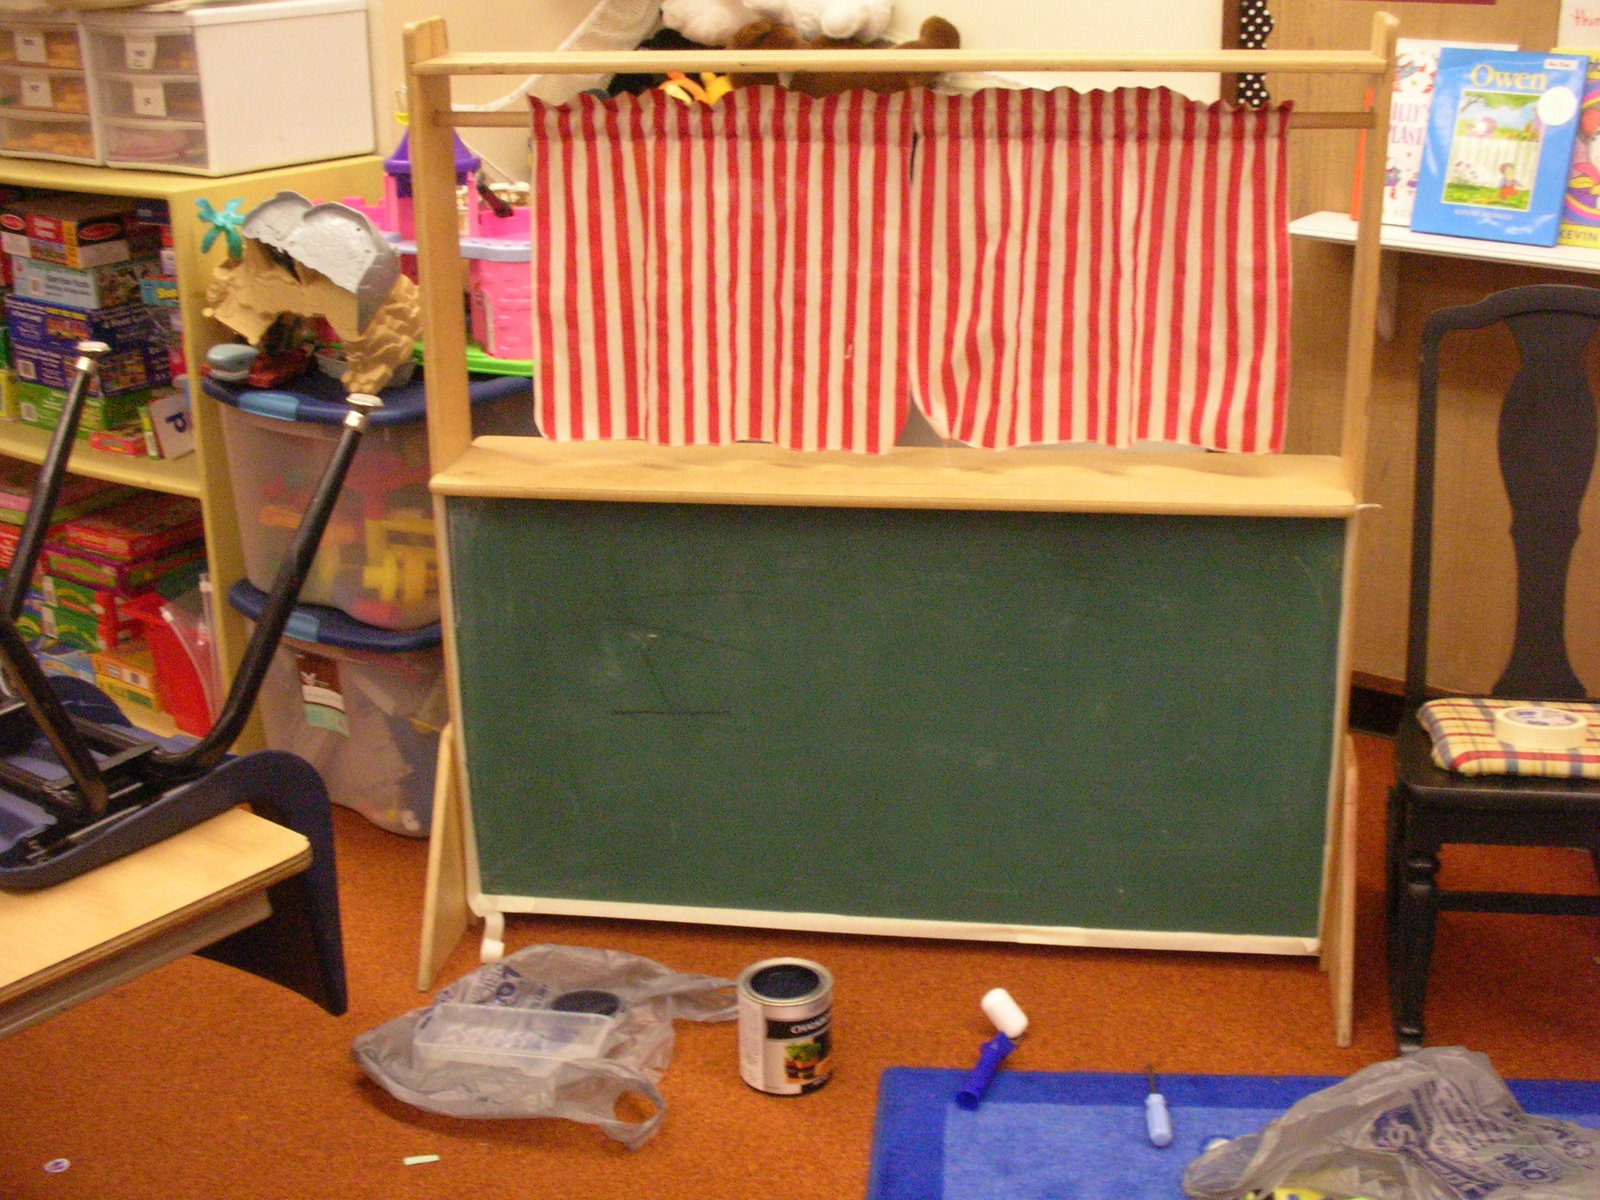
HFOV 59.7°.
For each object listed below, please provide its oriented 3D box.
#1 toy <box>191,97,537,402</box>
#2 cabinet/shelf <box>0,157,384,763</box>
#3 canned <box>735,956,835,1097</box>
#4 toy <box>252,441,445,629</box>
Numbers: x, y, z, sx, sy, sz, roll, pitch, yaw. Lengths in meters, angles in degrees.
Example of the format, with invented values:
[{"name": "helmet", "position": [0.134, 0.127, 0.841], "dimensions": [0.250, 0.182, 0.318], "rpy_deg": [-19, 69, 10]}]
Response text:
[{"name": "toy", "position": [-0.935, -0.647, 2.921], "dimensions": [0.772, 0.421, 0.373], "rpy_deg": [8, 16, 30]}, {"name": "cabinet/shelf", "position": [-1.277, -0.335, 2.977], "dimensions": [1.124, 1.028, 0.358], "rpy_deg": [26, 32, 25]}, {"name": "canned", "position": [-0.027, 0.763, 2.507], "dimensions": [0.169, 0.216, 0.136], "rpy_deg": [0, 15, -2]}, {"name": "toy", "position": [-0.886, -0.137, 2.786], "dimensions": [0.344, 0.238, 0.197], "rpy_deg": [15, 15, 27]}]
